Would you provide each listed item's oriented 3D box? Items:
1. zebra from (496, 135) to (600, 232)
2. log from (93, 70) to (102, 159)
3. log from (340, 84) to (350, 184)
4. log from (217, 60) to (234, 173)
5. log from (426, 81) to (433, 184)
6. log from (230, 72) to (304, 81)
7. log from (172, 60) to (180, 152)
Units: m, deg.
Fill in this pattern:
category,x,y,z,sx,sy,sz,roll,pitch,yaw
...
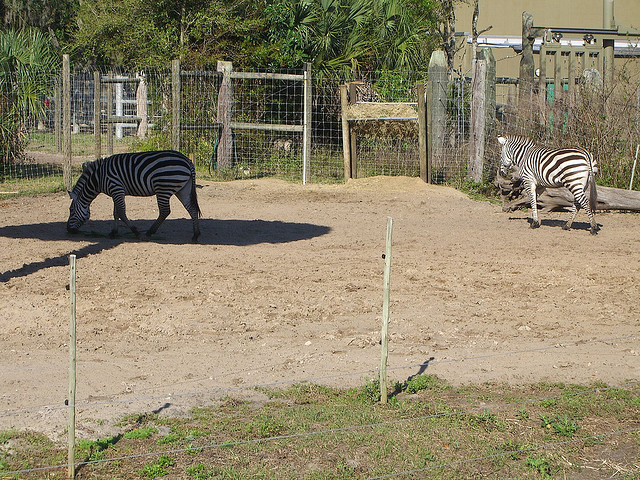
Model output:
category,x,y,z,sx,sy,sz,roll,pitch,yaw
zebra,3.932,-0.996,15.131,0.581,1.679,2.279,-6,9,-33
log,-4.891,-2.704,19.000,0.170,1.924,1.312,-3,13,-14
log,0.516,-2.357,19.330,0.224,2.106,0.823,0,12,1
log,-2.255,-2.853,20.101,0.331,2.484,0.397,-4,17,-19
log,2.383,-2.399,19.297,0.166,2.157,1.027,2,12,7
log,-1.213,-3.694,19.706,1.863,0.147,0.604,9,16,31
log,-3.253,-3.000,19.398,0.199,2.084,0.221,1,25,-6
